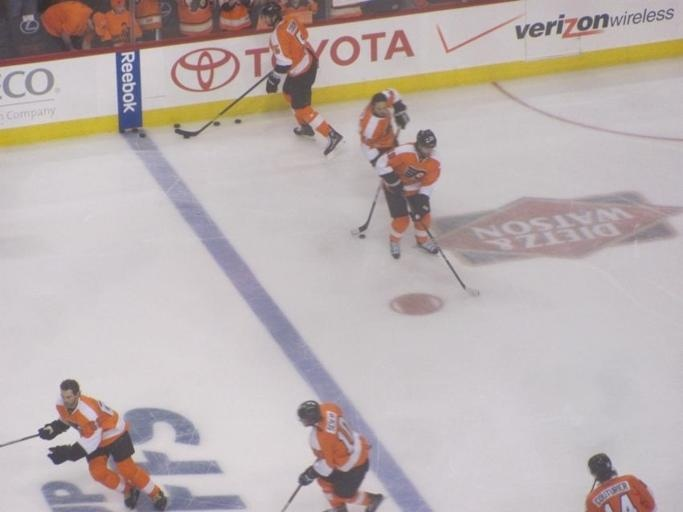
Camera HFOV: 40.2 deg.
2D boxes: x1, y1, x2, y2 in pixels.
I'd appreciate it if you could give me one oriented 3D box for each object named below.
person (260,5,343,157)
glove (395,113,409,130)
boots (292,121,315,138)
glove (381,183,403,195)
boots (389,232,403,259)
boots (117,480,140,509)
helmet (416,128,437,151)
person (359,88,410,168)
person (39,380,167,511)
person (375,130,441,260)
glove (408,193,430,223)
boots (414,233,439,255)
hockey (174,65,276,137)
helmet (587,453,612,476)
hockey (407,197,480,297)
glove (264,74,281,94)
[{"bbox_3d":[-0.462,-1.977,10.386,1.062,1.726,0.716,1,52,16],"label":"person"},{"bbox_3d":[0.620,-1.376,9.513,0.137,0.165,0.058,-4,10,25],"label":"glove"},{"bbox_3d":[-0.417,-1.414,10.536,0.235,0.215,0.103,21,62,6],"label":"boots"},{"bbox_3d":[0.492,-0.650,9.002,0.141,0.062,0.176,0,8,-5],"label":"glove"},{"bbox_3d":[0.536,-0.106,9.216,0.098,0.266,0.110,-3,-9,2],"label":"boots"},{"bbox_3d":[-1.701,1.954,7.561,0.116,0.234,0.091,-2,9,-18],"label":"boots"},{"bbox_3d":[0.788,-1.090,8.825,0.173,0.198,0.178,-9,22,-3],"label":"helmet"},{"bbox_3d":[0.435,-1.268,9.500,0.613,0.470,0.998,-14,-21,2],"label":"person"},{"bbox_3d":[-1.959,1.522,7.528,0.905,1.138,0.513,-10,23,-5],"label":"person"},{"bbox_3d":[0.672,-0.601,9.089,0.601,1.270,0.361,-7,23,3],"label":"person"},{"bbox_3d":[0.753,-0.472,9.074,0.090,0.252,0.198,-11,15,-41],"label":"glove"},{"bbox_3d":[0.851,-0.100,9.282,0.295,0.105,0.117,36,-7,22],"label":"boots"},{"bbox_3d":[-1.367,-1.769,10.584,1.248,0.177,0.179,-35,2,-1],"label":"hockey"},{"bbox_3d":[1.988,1.618,7.248,0.153,0.167,0.189,-4,27,10],"label":"helmet"},{"bbox_3d":[0.985,-0.048,9.223,0.174,1.106,0.093,-31,-25,18],"label":"hockey"},{"bbox_3d":[-0.748,-1.898,10.180,0.146,0.228,0.062,17,33,-4],"label":"glove"}]
